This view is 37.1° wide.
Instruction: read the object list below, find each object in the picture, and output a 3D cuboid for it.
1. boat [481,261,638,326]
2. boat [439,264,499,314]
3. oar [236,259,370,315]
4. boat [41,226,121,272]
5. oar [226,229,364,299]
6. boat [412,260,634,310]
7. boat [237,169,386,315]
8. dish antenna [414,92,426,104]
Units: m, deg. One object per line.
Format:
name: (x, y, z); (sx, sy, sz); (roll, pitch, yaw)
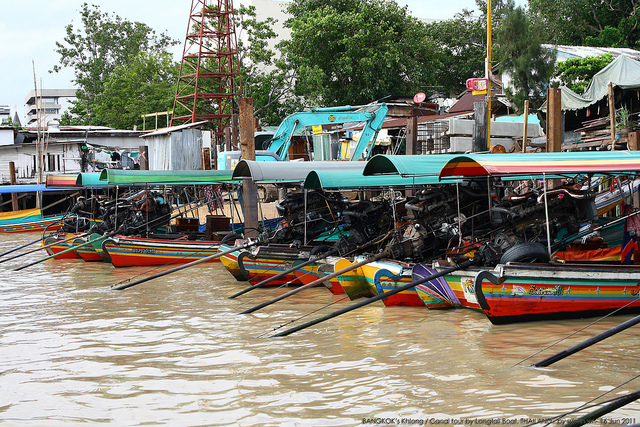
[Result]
boat: (6.354, 2.156, 25.810); (4.068, 1.675, 0.235); (-1, 1, -4)
boat: (3.934, 2.052, 26.240); (2.669, 1.470, 1.133); (0, -1, 38)
oar: (-0.402, 2.179, 28.243); (4.709, 0.340, 0.305); (-16, -33, 12)
boat: (-8.316, 1.290, 33.660); (3.383, 1.105, 1.416); (0, 23, 41)
oar: (-0.718, 1.591, 29.063); (3.624, 0.734, 0.896); (-20, 17, -9)
boat: (4.793, 2.076, 25.961); (4.791, 1.581, 4.003); (-1, -3, 2)
boat: (-0.186, 0.955, 29.148); (5.672, 2.959, 1.597); (-25, 31, -12)
dish antenna: (4.678, -5.582, 45.583); (0.472, 0.491, 1.215); (-1, 1, 5)
